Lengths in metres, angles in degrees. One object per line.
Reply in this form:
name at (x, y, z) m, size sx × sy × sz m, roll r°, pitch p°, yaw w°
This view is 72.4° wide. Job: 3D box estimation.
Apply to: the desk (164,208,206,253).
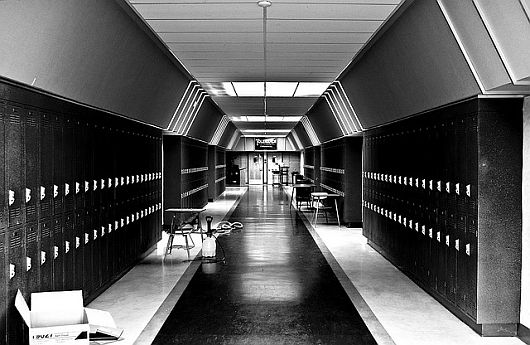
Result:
desk at (-2.083, 1.521, 9.274) m, size 0.997 × 1.339 × 0.973 m, roll 3°, pitch 4°, yaw 9°
